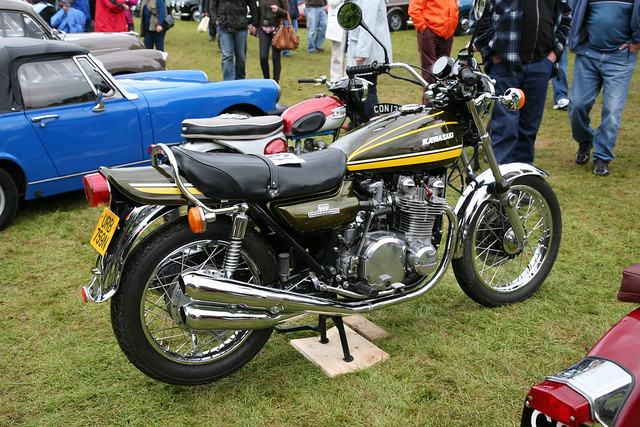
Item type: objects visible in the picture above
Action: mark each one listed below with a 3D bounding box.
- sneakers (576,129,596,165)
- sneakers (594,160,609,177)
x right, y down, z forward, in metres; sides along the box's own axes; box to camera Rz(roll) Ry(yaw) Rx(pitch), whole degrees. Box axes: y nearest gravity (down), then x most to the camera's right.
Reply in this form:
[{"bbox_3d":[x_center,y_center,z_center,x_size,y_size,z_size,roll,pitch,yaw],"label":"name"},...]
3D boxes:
[{"bbox_3d":[3.512,-0.880,8.090,0.133,0.186,0.411,15,74,33],"label":"sneakers"},{"bbox_3d":[3.564,-0.575,7.724,0.113,0.140,0.315,0,10,16],"label":"sneakers"}]
